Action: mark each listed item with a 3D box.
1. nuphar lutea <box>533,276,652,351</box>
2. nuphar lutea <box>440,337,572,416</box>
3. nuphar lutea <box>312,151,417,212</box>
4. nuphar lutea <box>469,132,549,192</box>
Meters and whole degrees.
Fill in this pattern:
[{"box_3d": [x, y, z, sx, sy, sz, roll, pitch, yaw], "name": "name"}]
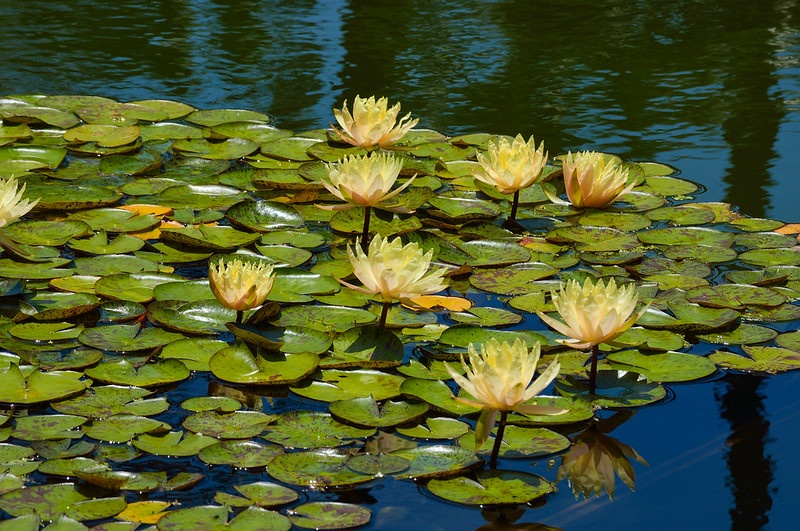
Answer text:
[{"box_3d": [0.930, 0.247, 4.097, 0.540, 0.148, 0.426, -7, -10, -1], "name": "nuphar lutea"}, {"box_3d": [0.483, 0.489, 3.825, 0.599, 0.161, 0.450, -2, -22, -5], "name": "nuphar lutea"}, {"box_3d": [-0.189, -0.451, 4.797, 0.703, 0.156, 0.378, -2, 16, -5], "name": "nuphar lutea"}, {"box_3d": [0.693, -0.546, 5.174, 0.473, 0.119, 0.368, -5, -13, -1], "name": "nuphar lutea"}]
